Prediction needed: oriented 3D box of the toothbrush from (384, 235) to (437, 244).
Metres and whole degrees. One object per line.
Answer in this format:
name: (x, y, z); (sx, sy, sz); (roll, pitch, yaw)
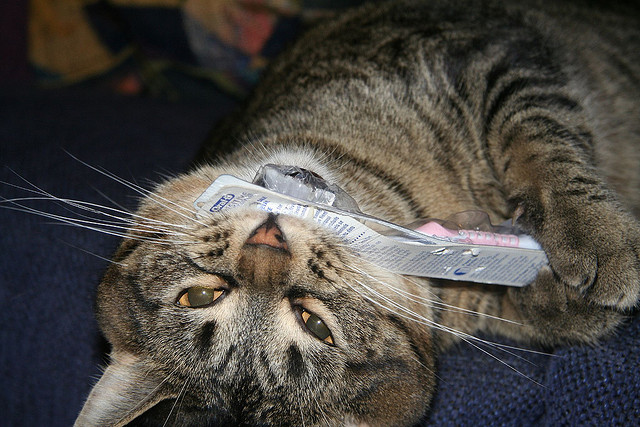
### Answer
toothbrush: (0.273, 0.081, 2.133); (0.142, 0.020, 0.022); (8, 76, 0)
